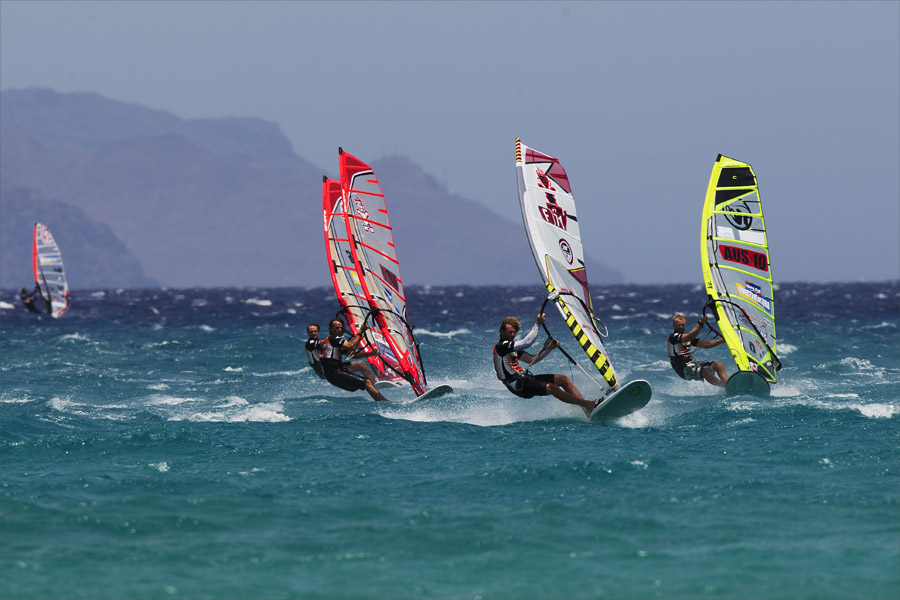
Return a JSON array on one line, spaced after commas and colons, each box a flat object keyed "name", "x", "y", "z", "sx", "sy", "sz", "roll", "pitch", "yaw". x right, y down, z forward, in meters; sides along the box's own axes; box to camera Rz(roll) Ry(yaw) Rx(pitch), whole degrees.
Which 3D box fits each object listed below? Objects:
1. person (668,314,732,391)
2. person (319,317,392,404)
[{"name": "person", "x": 6.589, "y": 1.361, "z": 31.955, "sx": 1.362, "sy": 1.948, "sz": 0.938, "roll": -5, "pitch": -1, "yaw": 7}, {"name": "person", "x": -2.671, "y": 1.595, "z": 31.633, "sx": 1.139, "sy": 2.017, "sz": 1.227, "roll": -6, "pitch": -1, "yaw": 24}]
